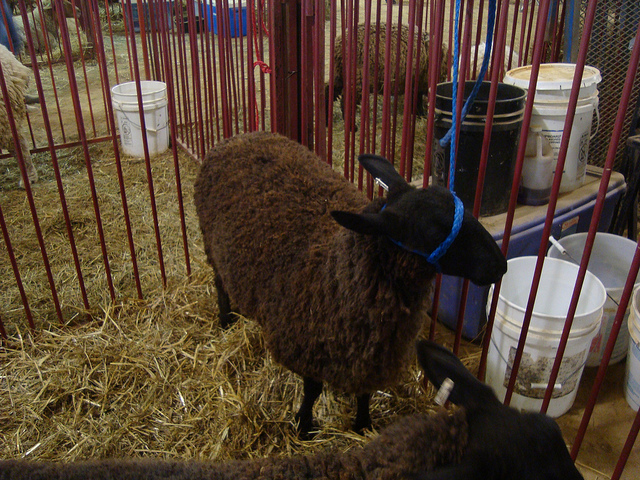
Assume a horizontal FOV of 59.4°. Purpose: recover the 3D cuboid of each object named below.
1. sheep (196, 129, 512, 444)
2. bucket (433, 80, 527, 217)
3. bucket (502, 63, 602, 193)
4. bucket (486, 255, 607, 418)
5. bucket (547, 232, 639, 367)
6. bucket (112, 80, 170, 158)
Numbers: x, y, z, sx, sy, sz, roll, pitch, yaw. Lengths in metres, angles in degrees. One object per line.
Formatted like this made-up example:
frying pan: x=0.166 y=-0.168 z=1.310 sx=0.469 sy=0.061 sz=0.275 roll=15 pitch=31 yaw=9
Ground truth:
sheep: x=-0.054 y=0.246 z=3.943 sx=1.039 sy=2.127 sz=2.542 roll=-16 pitch=38 yaw=-38
bucket: x=1.237 y=-0.771 z=4.369 sx=0.756 sy=0.942 sz=0.748 roll=-6 pitch=31 yaw=3
bucket: x=1.840 y=-1.017 z=4.646 sx=0.786 sy=1.066 sz=0.987 roll=-4 pitch=29 yaw=9
bucket: x=1.486 y=0.682 z=3.787 sx=0.647 sy=0.940 sz=0.709 roll=1 pitch=27 yaw=0
bucket: x=1.822 y=0.417 z=3.749 sx=0.491 sy=0.574 sz=0.610 roll=-14 pitch=41 yaw=12
bucket: x=-2.353 y=-1.600 z=7.480 sx=0.694 sy=1.017 sz=0.768 roll=-10 pitch=29 yaw=-21
